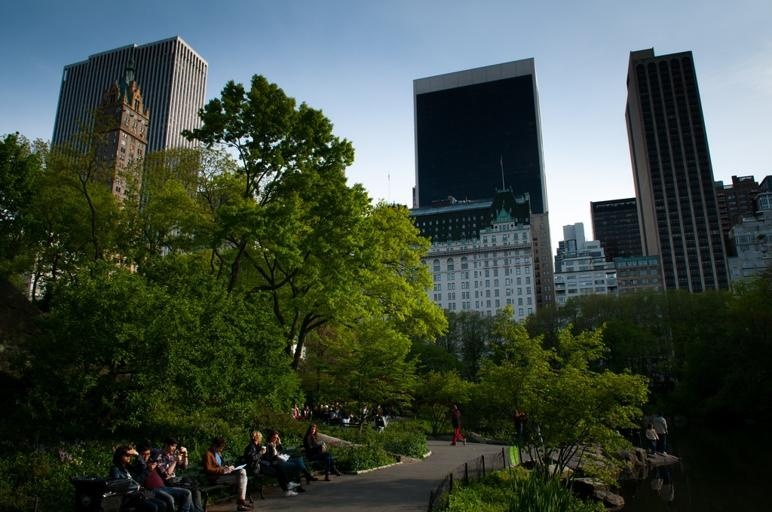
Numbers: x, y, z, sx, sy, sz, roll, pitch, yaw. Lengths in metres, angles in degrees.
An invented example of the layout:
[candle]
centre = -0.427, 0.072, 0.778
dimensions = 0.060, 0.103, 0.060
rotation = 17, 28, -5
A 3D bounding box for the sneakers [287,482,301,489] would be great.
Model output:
[sneakers]
centre = -4.931, 12.154, 36.952
dimensions = 0.649, 0.271, 0.233
rotation = 1, -10, -8
